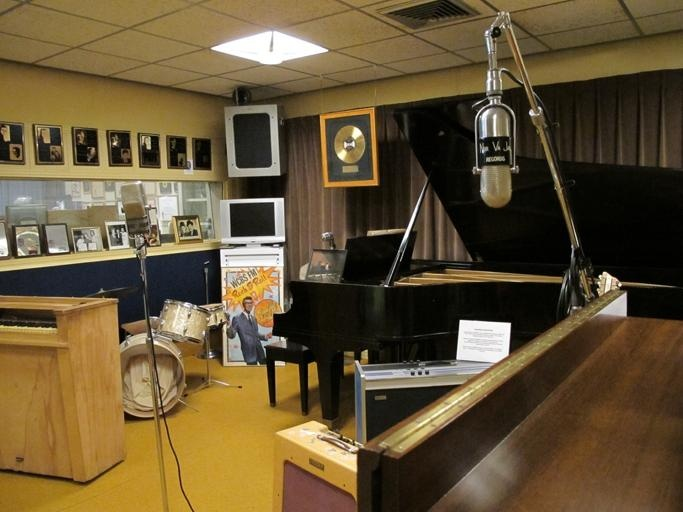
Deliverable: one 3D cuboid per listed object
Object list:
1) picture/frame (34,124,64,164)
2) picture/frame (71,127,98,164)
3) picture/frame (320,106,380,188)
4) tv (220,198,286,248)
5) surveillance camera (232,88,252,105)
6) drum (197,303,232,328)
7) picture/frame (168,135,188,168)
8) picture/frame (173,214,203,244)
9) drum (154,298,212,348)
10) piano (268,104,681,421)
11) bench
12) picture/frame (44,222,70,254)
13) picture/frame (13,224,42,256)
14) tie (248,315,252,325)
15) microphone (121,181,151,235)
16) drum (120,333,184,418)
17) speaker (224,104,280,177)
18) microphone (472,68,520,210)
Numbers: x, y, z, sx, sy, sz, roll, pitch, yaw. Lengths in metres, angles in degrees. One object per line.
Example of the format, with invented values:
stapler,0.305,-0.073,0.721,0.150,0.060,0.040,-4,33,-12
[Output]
picture/frame,-2.772,-1.053,4.886,0.069,0.369,0.257,2,13,31
picture/frame,-2.551,-1.089,5.144,0.055,0.374,0.264,3,13,35
picture/frame,0.106,-1.128,5.367,0.884,1.037,0.143,1,8,27
tv,-0.984,-0.361,5.725,0.558,0.405,0.060,-1,-2,2
surveillance camera,-1.114,-1.796,5.813,0.202,0.203,0.177,-7,11,-9
drum,-1.208,0.563,4.843,0.271,0.186,0.276,-1,5,0
picture/frame,-1.873,-1.184,5.904,0.037,0.372,0.270,4,14,39
picture/frame,-1.810,-0.314,6.035,0.055,0.305,0.320,-9,3,42
drum,-1.317,0.572,4.320,0.372,0.255,0.368,11,-9,2
piano,1.071,0.069,4.312,2.865,2.118,2.042,1,2,30
bench,-0.286,0.952,4.394,0.605,0.627,0.666,-3,-2,27
picture/frame,-2.768,-0.171,4.999,0.041,0.296,0.260,-11,6,31
picture/frame,-2.923,-0.145,4.783,0.030,0.289,0.252,-13,2,37
tie,-0.962,0.667,5.424,0.055,0.077,0.019,4,-4,5
microphone,-1.017,-0.230,2.546,0.141,0.256,0.105,-6,11,-2
drum,-1.551,0.988,4.209,0.492,0.719,0.371,-10,12,-21
speaker,-0.996,-1.316,5.824,0.772,0.976,0.521,0,7,-2
microphone,0.575,-0.444,1.933,0.152,0.511,0.229,-2,12,18
